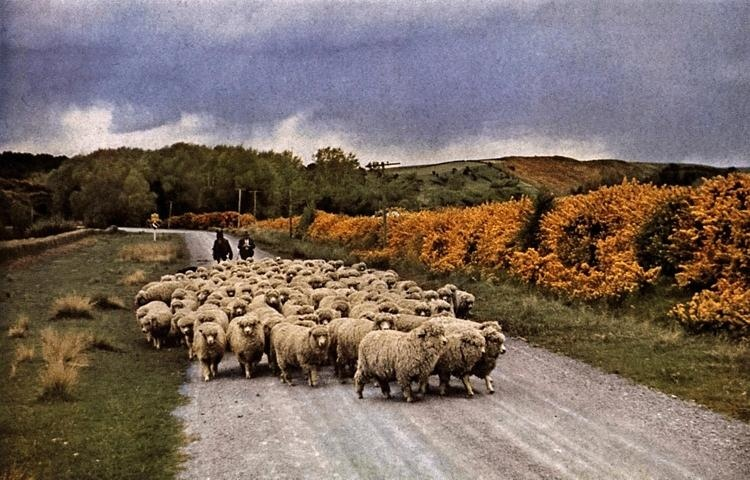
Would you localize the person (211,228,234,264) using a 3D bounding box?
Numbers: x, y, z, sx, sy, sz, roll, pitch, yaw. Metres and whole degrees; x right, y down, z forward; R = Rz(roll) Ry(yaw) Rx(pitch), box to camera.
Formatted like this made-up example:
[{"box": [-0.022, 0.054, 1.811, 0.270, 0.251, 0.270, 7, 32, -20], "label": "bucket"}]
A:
[{"box": [-9.918, 0.435, 39.065, 1.309, 2.363, 0.689, 3, 34, -10], "label": "person"}]
